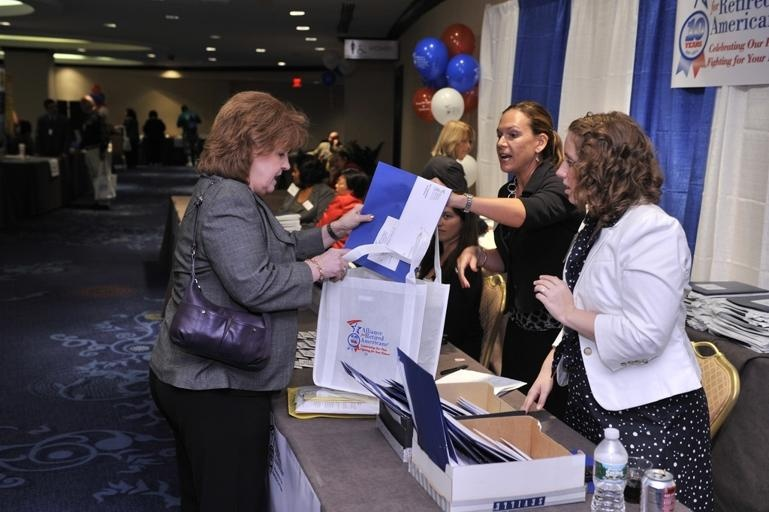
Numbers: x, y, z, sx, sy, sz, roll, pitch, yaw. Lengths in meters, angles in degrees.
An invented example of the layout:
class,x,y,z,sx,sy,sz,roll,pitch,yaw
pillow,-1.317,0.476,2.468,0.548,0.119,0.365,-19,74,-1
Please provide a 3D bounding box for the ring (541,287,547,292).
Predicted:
class,x,y,z,sx,sy,sz,roll,pitch,yaw
ring,0.541,0.111,1.886,0.011,0.010,0.018,-7,36,2

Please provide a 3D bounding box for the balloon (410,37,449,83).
class,x,y,z,sx,sy,sz,roll,pitch,yaw
balloon,0.521,-2.259,6.335,0.421,0.528,0.437,-7,32,4

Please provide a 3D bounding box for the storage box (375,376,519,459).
class,x,y,z,sx,sy,sz,roll,pitch,yaw
storage box,0.205,0.507,1.930,0.349,0.130,0.268,-2,6,-24

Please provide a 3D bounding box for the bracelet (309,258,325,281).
class,x,y,z,sx,sy,sz,roll,pitch,yaw
bracelet,-0.241,0.049,2.056,0.030,0.074,0.058,-18,4,4

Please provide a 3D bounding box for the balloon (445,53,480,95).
class,x,y,z,sx,sy,sz,roll,pitch,yaw
balloon,0.816,-1.984,6.151,0.373,0.385,0.443,2,1,3

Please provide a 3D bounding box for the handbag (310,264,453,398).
class,x,y,z,sx,sy,sz,roll,pitch,yaw
handbag,-0.022,0.276,2.043,0.446,0.478,0.165,4,3,18

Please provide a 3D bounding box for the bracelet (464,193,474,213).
class,x,y,z,sx,sy,sz,roll,pitch,yaw
bracelet,0.354,-0.225,2.390,0.043,0.070,0.064,3,-18,1

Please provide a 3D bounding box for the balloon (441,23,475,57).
class,x,y,z,sx,sy,sz,roll,pitch,yaw
balloon,0.851,-2.444,6.393,0.369,0.456,0.379,-1,-12,-1

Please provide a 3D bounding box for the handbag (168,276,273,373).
class,x,y,z,sx,sy,sz,roll,pitch,yaw
handbag,-0.578,0.240,1.991,0.257,0.256,0.114,20,-23,-12
